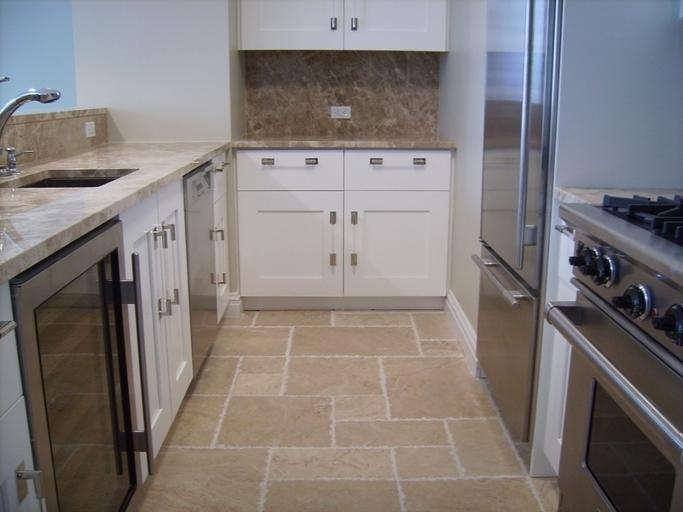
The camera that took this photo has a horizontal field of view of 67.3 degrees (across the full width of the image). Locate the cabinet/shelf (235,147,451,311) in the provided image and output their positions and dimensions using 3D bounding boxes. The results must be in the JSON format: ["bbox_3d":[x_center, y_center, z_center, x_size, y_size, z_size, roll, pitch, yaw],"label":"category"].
[{"bbox_3d":[0.009,-0.204,3.464,1.354,1.100,0.528,0,13,0],"label":"cabinet/shelf"}]
